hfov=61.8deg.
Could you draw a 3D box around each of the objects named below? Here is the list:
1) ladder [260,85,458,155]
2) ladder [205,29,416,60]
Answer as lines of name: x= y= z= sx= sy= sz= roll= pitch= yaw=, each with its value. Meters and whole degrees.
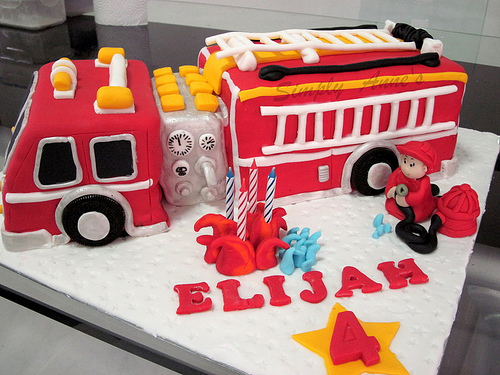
ladder: x=0.354 y=-0.234 z=1.411 sx=0.661 sy=0.192 sz=0.050 roll=-4 pitch=27 yaw=10
ladder: x=0.235 y=-0.510 z=1.493 sx=0.467 sy=0.050 sz=0.168 roll=-5 pitch=29 yaw=-5
